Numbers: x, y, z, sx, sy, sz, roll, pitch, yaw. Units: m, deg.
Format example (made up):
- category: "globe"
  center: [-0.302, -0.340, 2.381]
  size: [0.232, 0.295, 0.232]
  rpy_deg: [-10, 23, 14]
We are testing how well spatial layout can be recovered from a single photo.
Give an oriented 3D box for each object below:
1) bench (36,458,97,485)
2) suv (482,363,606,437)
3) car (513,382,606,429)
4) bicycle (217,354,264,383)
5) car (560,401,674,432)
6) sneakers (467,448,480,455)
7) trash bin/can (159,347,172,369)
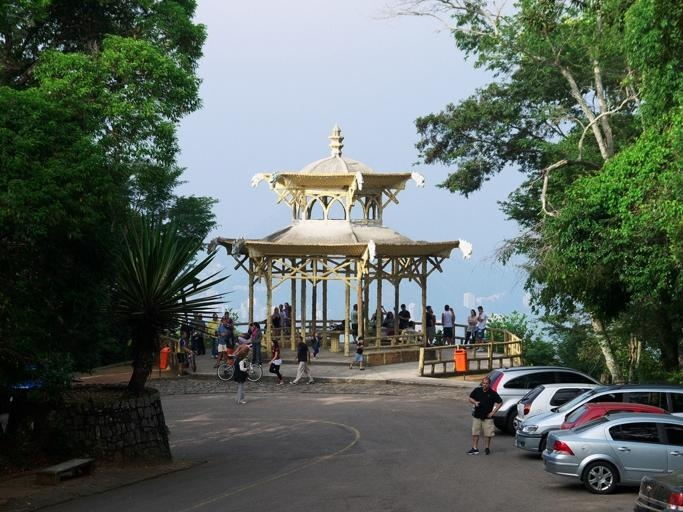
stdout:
- category: "bench"
  center: [-6.575, 5.114, 19.776]
  size: [0.748, 0.537, 1.262]
  rpy_deg: [-3, -11, 22]
- category: "suv"
  center: [6.000, 4.292, 24.961]
  size: [3.215, 1.527, 1.796]
  rpy_deg: [-4, 1, -7]
- category: "car"
  center: [5.906, 3.991, 23.197]
  size: [2.183, 1.104, 1.314]
  rpy_deg: [-14, 1, -2]
- category: "bicycle"
  center: [-4.363, 4.696, 34.374]
  size: [2.124, 1.457, 1.110]
  rpy_deg: [-1, -3, 1]
- category: "car"
  center: [6.362, 3.751, 20.117]
  size: [1.856, 0.724, 1.023]
  rpy_deg: [-6, 3, -1]
- category: "sneakers"
  center: [3.412, 5.104, 21.705]
  size: [0.344, 0.156, 0.127]
  rpy_deg: [3, -7, -18]
- category: "trash bin/can"
  center: [-7.997, 4.621, 37.593]
  size: [0.466, 1.027, 1.384]
  rpy_deg: [3, -11, -11]
